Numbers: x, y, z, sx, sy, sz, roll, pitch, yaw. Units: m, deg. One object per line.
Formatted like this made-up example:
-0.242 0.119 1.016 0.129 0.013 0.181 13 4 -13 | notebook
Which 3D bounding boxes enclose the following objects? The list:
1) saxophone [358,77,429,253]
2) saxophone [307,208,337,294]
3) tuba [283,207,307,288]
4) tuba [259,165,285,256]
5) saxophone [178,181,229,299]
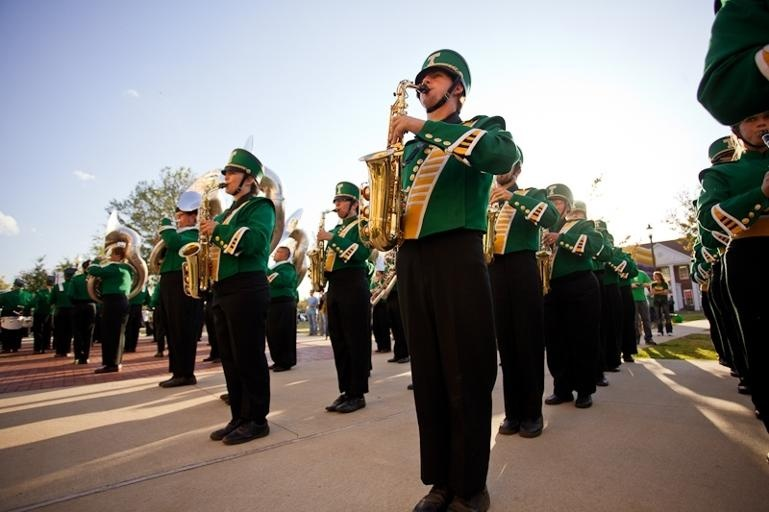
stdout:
-0.010 -0.464 3.338 0.356 0.828 0.326 -2 -7 -4 | saxophone
-0.867 -0.121 5.980 0.324 1.076 0.270 5 8 1 | saxophone
-2.429 -0.322 13.316 1.007 1.405 2.007 13 -3 -32 | tuba
-2.795 -1.427 10.776 0.908 1.399 0.586 24 42 39 | tuba
-2.005 -0.184 4.776 0.283 1.259 0.541 5 3 20 | saxophone
